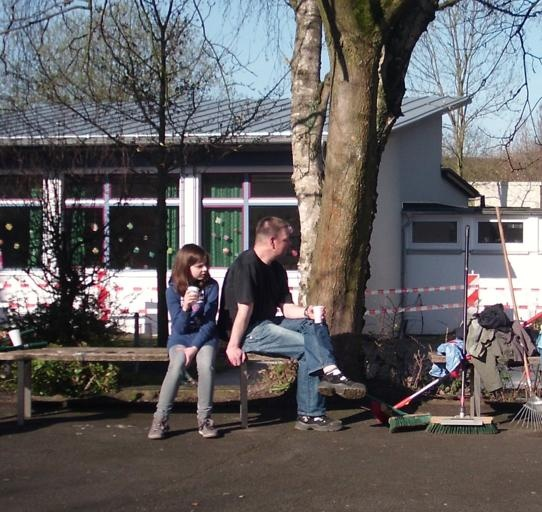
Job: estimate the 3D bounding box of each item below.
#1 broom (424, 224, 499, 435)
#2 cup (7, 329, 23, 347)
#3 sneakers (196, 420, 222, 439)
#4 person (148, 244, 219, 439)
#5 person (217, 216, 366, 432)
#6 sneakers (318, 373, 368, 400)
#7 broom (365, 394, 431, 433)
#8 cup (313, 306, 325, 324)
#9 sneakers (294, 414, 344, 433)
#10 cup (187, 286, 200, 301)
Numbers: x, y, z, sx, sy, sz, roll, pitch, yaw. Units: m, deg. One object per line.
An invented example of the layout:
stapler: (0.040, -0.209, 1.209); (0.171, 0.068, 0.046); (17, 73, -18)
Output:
broom: (1.836, 0.663, 8.357); (0.615, 1.864, 0.999); (2, 6, 16)
cup: (-2.538, 0.806, 8.759); (0.118, 0.243, 0.136); (-8, 3, -6)
sneakers: (-0.562, 1.542, 7.887); (0.191, 0.155, 0.203); (0, 7, -5)
person: (-0.786, 0.752, 8.030); (0.582, 1.677, 0.675); (0, 6, -4)
person: (0.079, 0.625, 8.179); (1.283, 1.928, 0.897); (1, 6, 7)
sneakers: (0.608, 1.120, 7.807); (0.459, 0.302, 0.188); (3, 7, 21)
broom: (1.132, 1.484, 8.265); (0.275, 0.265, 0.507); (3, -13, -28)
cup: (0.426, 0.544, 8.087); (0.103, 0.214, 0.124); (-1, 1, -17)
sneakers: (0.436, 1.542, 8.103); (0.449, 0.259, 0.177); (-1, -2, 7)
cup: (-0.715, 0.329, 7.965); (0.080, 0.112, 0.089); (2, -4, -19)
